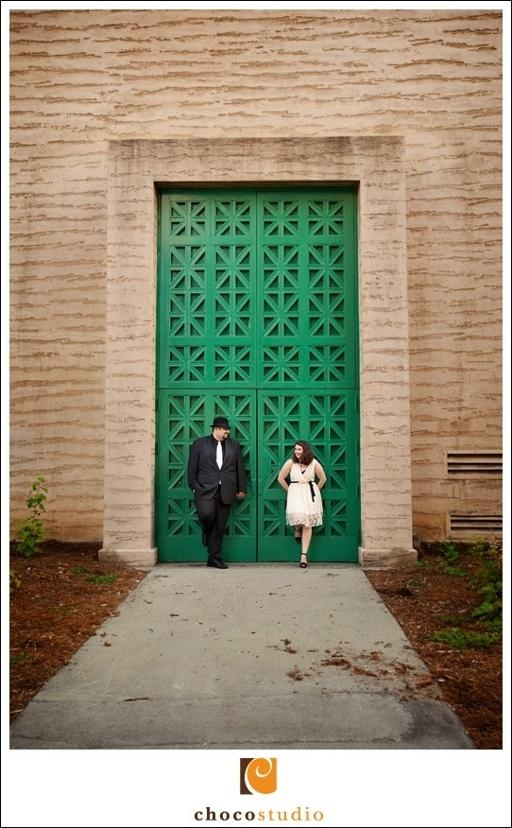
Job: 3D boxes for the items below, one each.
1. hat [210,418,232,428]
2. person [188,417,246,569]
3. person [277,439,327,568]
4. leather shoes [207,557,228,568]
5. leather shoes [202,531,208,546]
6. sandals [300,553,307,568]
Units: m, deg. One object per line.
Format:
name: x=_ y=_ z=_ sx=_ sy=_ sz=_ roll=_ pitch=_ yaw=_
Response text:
hat: x=-0.428 y=0.114 z=8.791 sx=0.171 sy=0.123 sz=0.193 roll=-2 pitch=8 yaw=-11
person: x=-0.467 y=0.937 z=8.764 sx=0.693 sy=1.743 sz=0.522 roll=-1 pitch=8 yaw=-4
person: x=0.550 y=1.076 z=8.887 sx=0.594 sy=1.485 sz=0.591 roll=0 pitch=8 yaw=5
leather shoes: x=-0.467 y=1.779 z=8.768 sx=0.265 sy=0.114 sz=0.091 roll=-7 pitch=-10 yaw=44
leather shoes: x=-0.608 y=1.482 z=8.788 sx=0.060 sy=0.180 sz=0.127 roll=-2 pitch=23 yaw=5
sandals: x=0.571 y=1.749 z=8.761 sx=0.116 sy=0.140 sz=0.354 roll=-1 pitch=-8 yaw=3
